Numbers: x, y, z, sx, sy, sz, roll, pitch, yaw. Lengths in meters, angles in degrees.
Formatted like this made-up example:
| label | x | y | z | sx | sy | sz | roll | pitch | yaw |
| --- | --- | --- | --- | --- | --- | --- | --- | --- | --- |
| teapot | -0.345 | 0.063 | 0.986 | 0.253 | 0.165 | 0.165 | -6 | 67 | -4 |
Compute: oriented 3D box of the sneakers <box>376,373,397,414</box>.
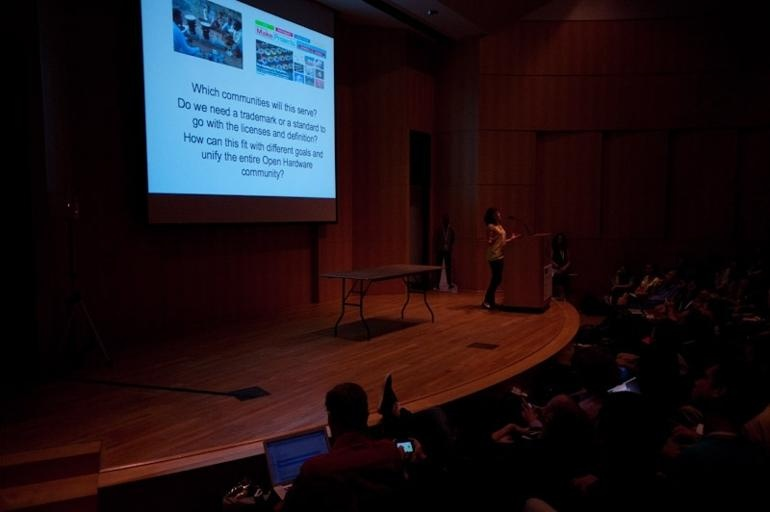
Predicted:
| label | x | y | z | sx | sy | sz | roll | pitch | yaw |
| --- | --- | --- | --- | --- | --- | --- | --- | --- | --- |
| sneakers | 0.028 | 1.077 | 4.101 | 0.122 | 0.393 | 0.160 | 5 | -7 | 0 |

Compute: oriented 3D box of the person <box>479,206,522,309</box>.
| label | x | y | z | sx | sy | sz | roll | pitch | yaw |
| --- | --- | --- | --- | --- | --- | --- | --- | --- | --- |
| person | 1.792 | 0.028 | 8.535 | 0.459 | 1.605 | 0.497 | 0 | 9 | 8 |

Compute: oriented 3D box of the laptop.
| label | x | y | z | sx | sy | sz | roll | pitch | yaw |
| --- | --- | --- | --- | --- | --- | --- | --- | --- | --- |
| laptop | -0.664 | 1.462 | 3.757 | 0.516 | 0.355 | 0.420 | -16 | -8 | 9 |
